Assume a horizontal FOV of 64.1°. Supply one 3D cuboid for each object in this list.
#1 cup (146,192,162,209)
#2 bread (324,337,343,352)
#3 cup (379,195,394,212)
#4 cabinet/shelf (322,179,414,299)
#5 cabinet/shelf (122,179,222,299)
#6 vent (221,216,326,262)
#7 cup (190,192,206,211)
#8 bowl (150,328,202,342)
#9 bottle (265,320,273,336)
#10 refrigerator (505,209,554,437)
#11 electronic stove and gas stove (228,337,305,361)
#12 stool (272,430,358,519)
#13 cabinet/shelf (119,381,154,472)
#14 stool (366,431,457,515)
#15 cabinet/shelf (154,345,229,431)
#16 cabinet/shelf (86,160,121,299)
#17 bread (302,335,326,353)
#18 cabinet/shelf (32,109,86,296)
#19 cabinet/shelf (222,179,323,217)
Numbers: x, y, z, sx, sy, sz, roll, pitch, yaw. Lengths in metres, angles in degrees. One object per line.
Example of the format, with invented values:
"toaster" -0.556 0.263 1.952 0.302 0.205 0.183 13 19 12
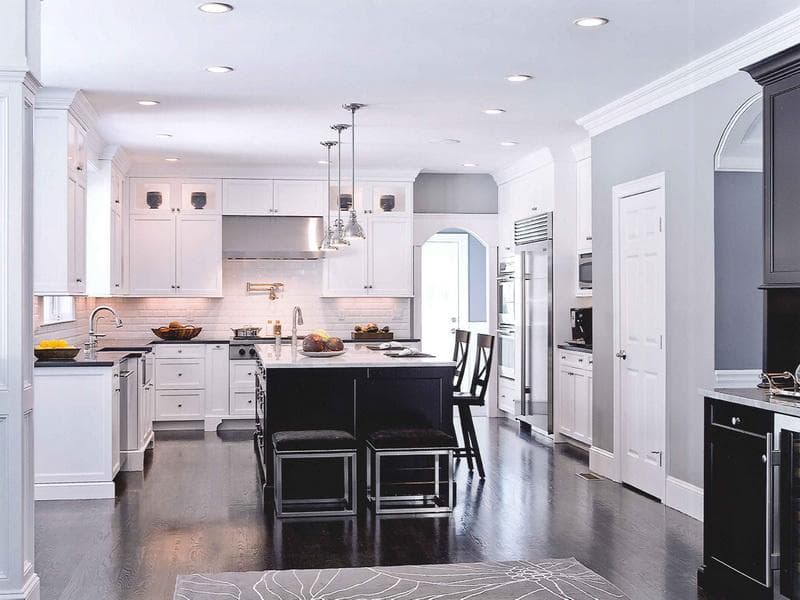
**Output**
"cup" -3.112 -1.230 8.047 0.208 0.226 0.207 3 5 0
"bread" -0.572 0.391 5.508 0.118 0.114 0.116 5 8 36
"cup" -0.172 -1.251 8.436 0.197 0.211 0.196 1 5 0
"cabinet/shelf" -0.445 -0.736 8.205 1.581 1.885 0.745 0 -1 -6
"cabinet/shelf" -2.981 -0.782 8.287 1.165 1.441 0.549 -3 13 -31
"vent" -1.664 -0.789 8.222 1.210 0.591 0.528 0 0 -10
"cup" -2.572 -1.243 8.136 0.212 0.231 0.211 1 6 0
"bowl" -2.803 0.430 8.003 0.547 0.169 0.279 0 1 -16
"bottle" -1.761 0.381 8.493 0.133 0.205 0.095 0 1 -13
"refrigerator" 1.551 0.294 7.611 0.303 2.588 0.776 0 1 -8
"electronic stove and gas stove" -1.864 0.621 8.006 0.566 0.255 0.304 0 1 -22
"stool" -0.656 1.340 4.978 0.666 0.665 0.653 0 -2 -12
"cabinet/shelf" -2.532 1.216 6.095 0.182 0.464 0.919 -1 0 -14
"stool" 0.070 1.356 5.128 0.663 0.568 0.662 1 -3 -8
"cabinet/shelf" -2.561 1.024 8.322 1.180 1.310 0.969 0 -1 -10
"cabinet/shelf" -3.395 -0.809 7.364 0.275 1.541 0.810 0 1 2
"bread" -0.730 0.368 5.488 0.154 0.114 0.152 1 2 16
"cabinet/shelf" -2.953 -0.803 5.529 0.265 1.533 0.549 0 1 -10
"cabinet/shelf" -1.628 -1.306 8.254 1.301 0.442 0.175 0 1 -2
